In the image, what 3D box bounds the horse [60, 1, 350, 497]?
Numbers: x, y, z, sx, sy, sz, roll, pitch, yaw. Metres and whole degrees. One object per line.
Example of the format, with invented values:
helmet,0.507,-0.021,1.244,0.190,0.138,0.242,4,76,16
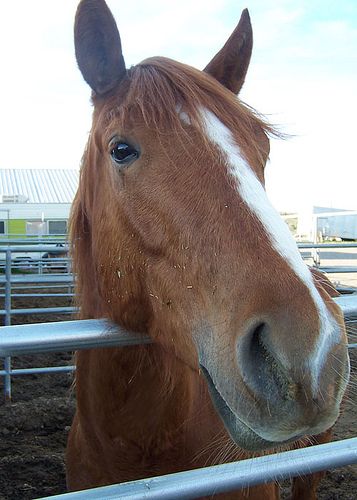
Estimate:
horse,0.000,0.075,1.489,0.617,1.614,0.933,-3,2,-13
